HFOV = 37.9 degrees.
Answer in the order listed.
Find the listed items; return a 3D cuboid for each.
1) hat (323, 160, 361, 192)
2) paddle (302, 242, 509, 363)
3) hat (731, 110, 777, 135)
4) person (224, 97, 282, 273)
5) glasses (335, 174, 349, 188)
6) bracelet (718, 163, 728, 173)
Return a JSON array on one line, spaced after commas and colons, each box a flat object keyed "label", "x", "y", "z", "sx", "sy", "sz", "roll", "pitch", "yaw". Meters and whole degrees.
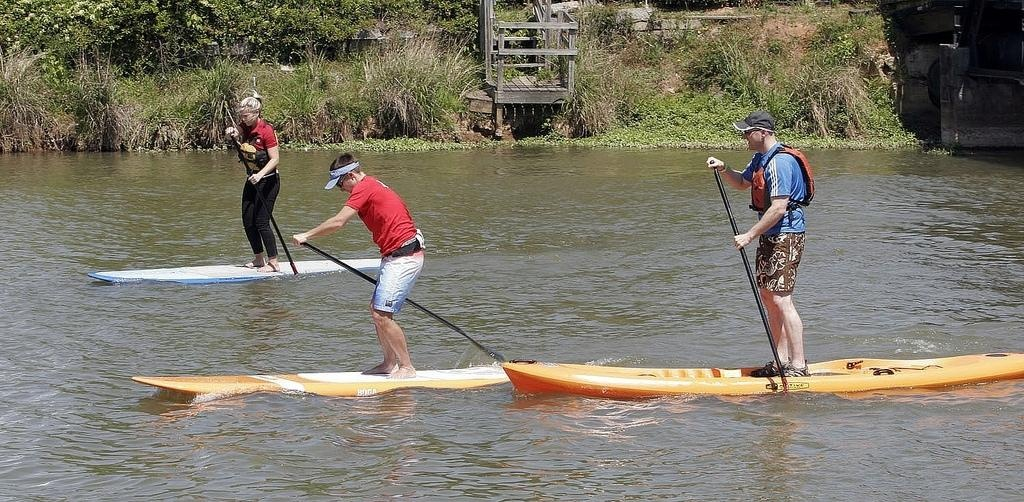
[{"label": "hat", "x": -3.129, "y": -1.386, "z": 27.029, "sx": 0.745, "sy": 0.235, "sz": 0.496, "roll": -18, "pitch": 5, "yaw": -12}, {"label": "paddle", "x": -2.069, "y": 1.063, "z": 28.656, "sx": 5.919, "sy": 0.370, "sz": 0.277, "roll": 22, "pitch": 3, "yaw": -14}, {"label": "hat", "x": 4.384, "y": -2.385, "z": 27.120, "sx": 0.742, "sy": 0.234, "sz": 0.381, "roll": 0, "pitch": 5, "yaw": 3}, {"label": "person", "x": -5.076, "y": -1.385, "z": 29.975, "sx": 0.951, "sy": 3.561, "sz": 0.834, "roll": 4, "pitch": 12, "yaw": 44}, {"label": "glasses", "x": -3.101, "y": -1.276, "z": 26.988, "sx": 0.070, "sy": 0.191, "sz": 0.254, "roll": -9, "pitch": -5, "yaw": 44}, {"label": "bracelet", "x": 3.822, "y": -1.549, "z": 27.217, "sx": 0.186, "sy": 0.090, "sz": 0.147, "roll": 2, "pitch": 13, "yaw": 1}]
